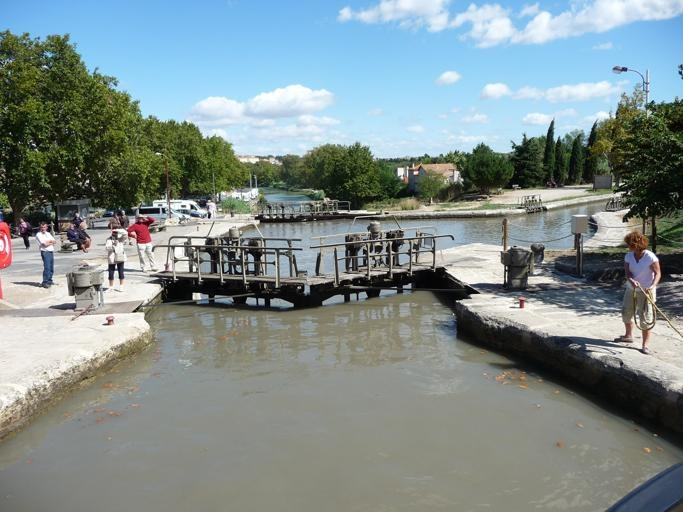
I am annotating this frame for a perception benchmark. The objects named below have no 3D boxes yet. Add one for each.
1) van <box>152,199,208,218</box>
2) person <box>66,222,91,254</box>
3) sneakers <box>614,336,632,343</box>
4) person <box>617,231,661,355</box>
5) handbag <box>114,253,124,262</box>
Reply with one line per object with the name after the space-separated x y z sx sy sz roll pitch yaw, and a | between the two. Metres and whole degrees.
-14.975 -4.119 52.515 6.159 1.757 2.076 -3 15 -20 | van
-11.808 -0.870 24.467 0.837 1.326 1.863 -6 8 -26 | person
5.261 1.564 10.212 0.254 0.107 0.139 -7 -3 45 | sneakers
5.263 0.626 9.747 0.652 2.164 0.906 2 9 25 | person
-6.316 0.056 15.594 0.115 0.228 0.307 4 9 35 | handbag
